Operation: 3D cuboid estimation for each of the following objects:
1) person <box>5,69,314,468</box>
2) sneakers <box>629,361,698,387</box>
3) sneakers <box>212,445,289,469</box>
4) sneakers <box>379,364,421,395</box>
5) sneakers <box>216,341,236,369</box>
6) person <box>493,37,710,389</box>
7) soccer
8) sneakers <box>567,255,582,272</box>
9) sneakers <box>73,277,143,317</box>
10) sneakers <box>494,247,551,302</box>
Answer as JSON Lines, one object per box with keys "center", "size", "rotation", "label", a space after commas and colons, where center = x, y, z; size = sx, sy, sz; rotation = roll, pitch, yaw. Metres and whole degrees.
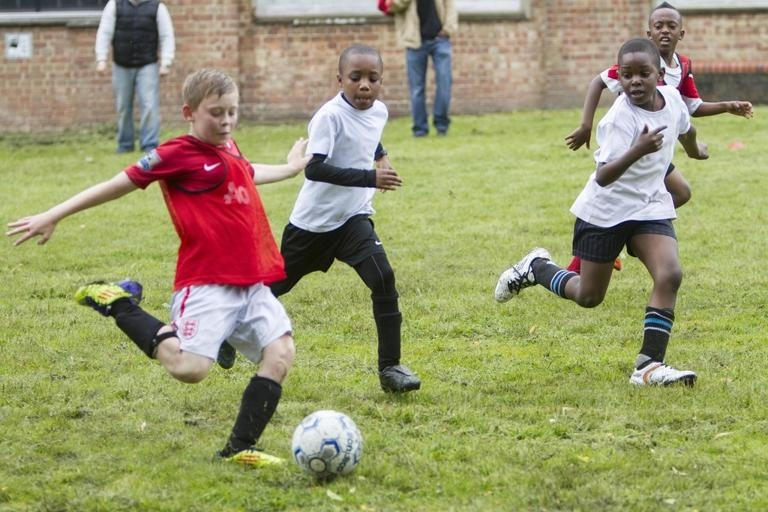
{"center": [-1.181, 0.222, 5.976], "size": [1.321, 1.909, 0.643], "rotation": [3, 11, 12], "label": "person"}
{"center": [1.904, 0.795, 6.504], "size": [0.397, 0.165, 0.171], "rotation": [-3, -2, 19], "label": "sneakers"}
{"center": [-0.802, 1.202, 5.766], "size": [0.424, 0.151, 0.143], "rotation": [-2, -1, 5], "label": "sneakers"}
{"center": [0.121, 0.836, 6.523], "size": [0.157, 0.126, 0.265], "rotation": [-13, 10, -44], "label": "sneakers"}
{"center": [-1.071, 0.683, 6.515], "size": [0.081, 0.232, 0.101], "rotation": [4, 5, -21], "label": "sneakers"}
{"center": [1.726, -0.306, 6.586], "size": [0.811, 2.307, 0.591], "rotation": [3, 11, 11], "label": "person"}
{"center": [-0.312, 1.140, 5.764], "size": [0.475, 0.377, 0.405], "rotation": [5, -15, -1], "label": "soccer"}
{"center": [1.529, 0.065, 7.609], "size": [0.106, 0.136, 0.075], "rotation": [9, -36, 37], "label": "sneakers"}
{"center": [-1.738, 0.251, 6.100], "size": [0.485, 0.185, 0.220], "rotation": [0, -5, -6], "label": "sneakers"}
{"center": [1.169, 0.170, 7.962], "size": [0.154, 0.417, 0.198], "rotation": [42, 6, -49], "label": "sneakers"}
